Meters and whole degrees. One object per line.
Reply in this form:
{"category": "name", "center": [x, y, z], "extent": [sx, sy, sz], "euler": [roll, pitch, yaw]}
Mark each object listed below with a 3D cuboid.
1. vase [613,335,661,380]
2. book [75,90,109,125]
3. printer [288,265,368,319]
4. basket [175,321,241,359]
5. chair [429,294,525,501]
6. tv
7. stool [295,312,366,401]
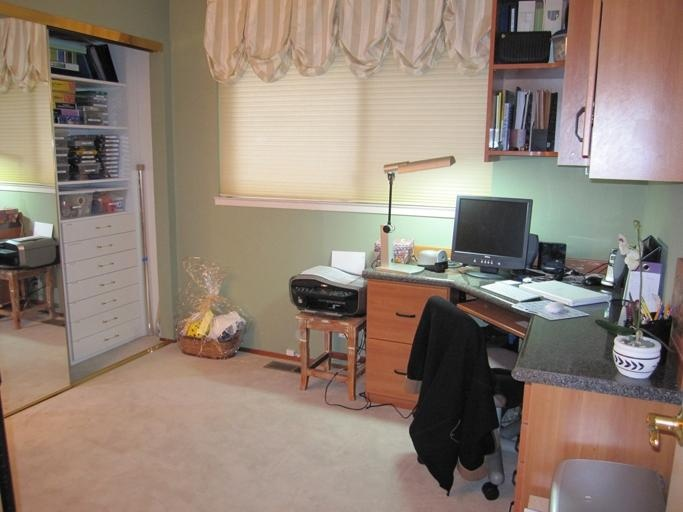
{"category": "vase", "center": [1.154, 0.400, 1.989], "extent": [0.157, 0.130, 0.158], "euler": [0, 13, 16]}
{"category": "book", "center": [-2.031, -1.208, 4.097], "extent": [0.152, 0.293, 0.307], "euler": [3, 11, 22]}
{"category": "printer", "center": [-0.088, 0.263, 3.603], "extent": [0.542, 0.305, 0.227], "euler": [4, 9, 15]}
{"category": "basket", "center": [-1.098, 0.680, 4.188], "extent": [0.373, 0.149, 0.277], "euler": [0, 2, 15]}
{"category": "chair", "center": [0.786, 0.801, 3.223], "extent": [0.766, 1.125, 0.956], "euler": [1, 3, 29]}
{"category": "tv", "center": [0.992, -0.116, 3.311], "extent": [0.471, 0.513, 0.191], "euler": [4, 9, 25]}
{"category": "stool", "center": [-0.043, 0.693, 3.824], "extent": [0.529, 0.648, 0.573], "euler": [2, 4, 18]}
